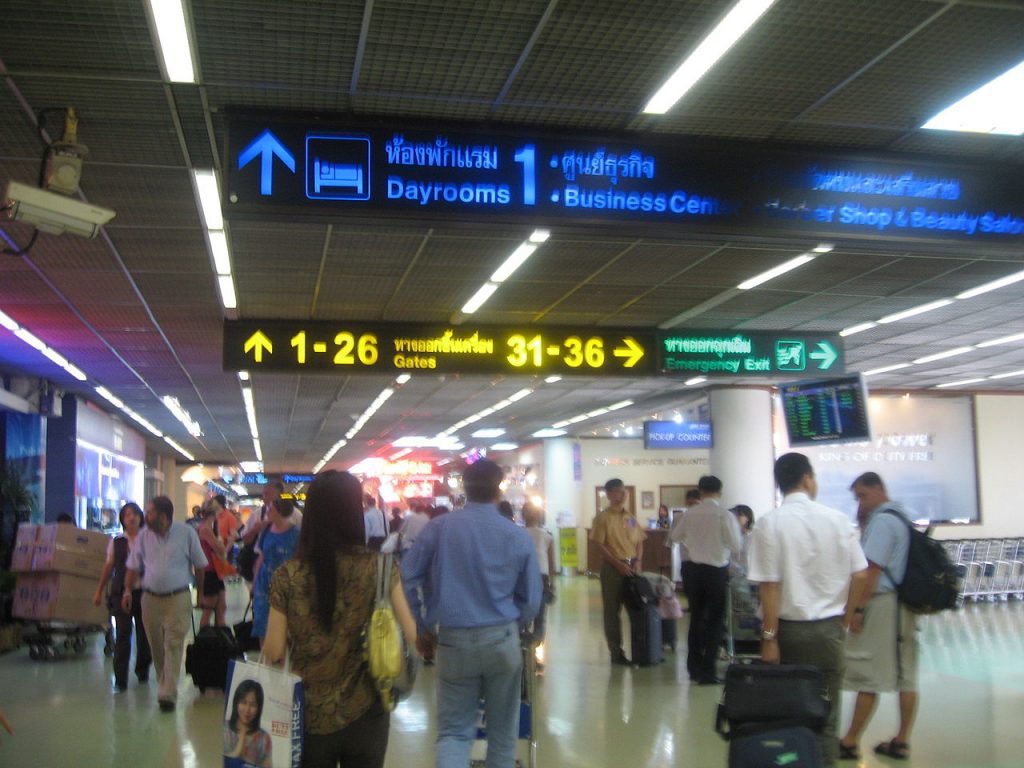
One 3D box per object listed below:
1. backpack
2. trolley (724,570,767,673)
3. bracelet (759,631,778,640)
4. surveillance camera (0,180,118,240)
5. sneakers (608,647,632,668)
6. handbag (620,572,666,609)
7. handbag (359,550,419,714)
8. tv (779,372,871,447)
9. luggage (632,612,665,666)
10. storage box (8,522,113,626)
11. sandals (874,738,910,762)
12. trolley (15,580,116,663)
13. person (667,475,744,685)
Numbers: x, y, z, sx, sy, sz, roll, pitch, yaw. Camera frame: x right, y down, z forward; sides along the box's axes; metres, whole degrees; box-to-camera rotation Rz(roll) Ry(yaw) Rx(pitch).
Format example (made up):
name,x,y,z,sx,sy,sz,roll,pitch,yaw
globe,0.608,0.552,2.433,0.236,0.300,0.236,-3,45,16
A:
name,x,y,z,sx,sy,sz,roll,pitch,yaw
backpack,2.992,1.324,5.938,0.704,0.706,0.462,-8,-10,36
trolley,2.405,2.481,8.578,0.626,0.852,0.631,-5,-19,24
bracelet,1.503,1.462,4.626,0.061,0.033,0.047,2,-7,1
surveillance camera,-2.695,-1.036,4.709,0.527,0.251,0.409,3,-11,-33
sneakers,1.250,3.146,9.107,0.156,0.100,0.162,0,-1,-12
handbag,1.497,2.367,9.110,0.210,0.367,0.379,-19,-6,-33
handbag,-0.564,1.074,3.463,0.242,0.687,0.176,0,-2,-3
tv,4.067,0.326,10.280,0.154,0.819,1.108,-2,-5,-40
luggage,1.535,2.824,8.930,0.376,0.649,0.297,-1,-9,-12
storage box,-5.975,2.548,10.473,1.235,1.187,0.881,11,-23,-33
sandals,2.827,2.701,5.889,0.127,0.102,0.239,4,-1,-23
trolley,-6.179,3.036,10.901,1.622,0.987,1.516,6,-11,-34
person,2.075,1.999,8.224,0.618,2.049,0.320,-5,-9,10
